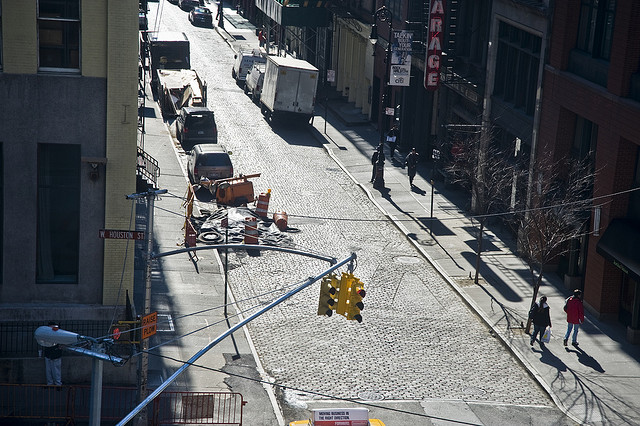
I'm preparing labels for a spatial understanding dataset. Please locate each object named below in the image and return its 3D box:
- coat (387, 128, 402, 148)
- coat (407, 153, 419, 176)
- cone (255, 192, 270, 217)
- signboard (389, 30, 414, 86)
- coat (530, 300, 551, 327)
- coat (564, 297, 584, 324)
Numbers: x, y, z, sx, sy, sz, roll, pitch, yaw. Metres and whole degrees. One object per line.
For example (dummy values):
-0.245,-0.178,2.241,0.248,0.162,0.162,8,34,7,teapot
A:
4.151,-4.211,62.120,1.099,1.218,0.642,-2,55,5,coat
4.726,-2.546,57.094,0.490,1.301,0.621,-1,17,6,coat
-2.715,-0.437,52.085,0.793,1.163,0.442,3,17,20,cone
4.125,-7.961,57.191,1.182,2.760,0.559,-2,16,3,signboard
8.506,3.824,42.910,0.797,0.965,0.400,23,46,30,coat
9.803,3.687,42.808,0.878,1.128,0.508,9,36,33,coat
